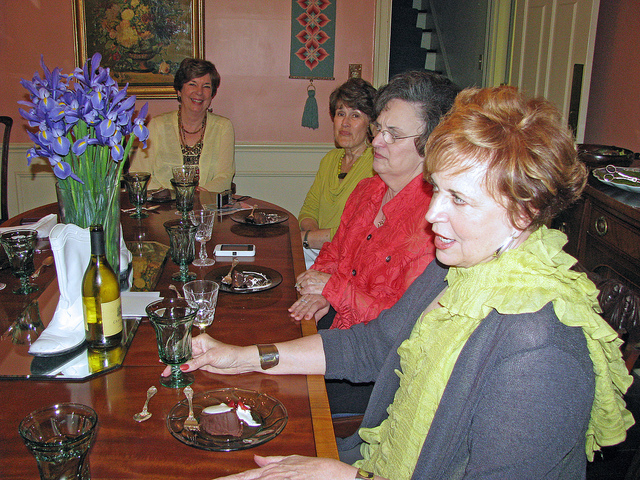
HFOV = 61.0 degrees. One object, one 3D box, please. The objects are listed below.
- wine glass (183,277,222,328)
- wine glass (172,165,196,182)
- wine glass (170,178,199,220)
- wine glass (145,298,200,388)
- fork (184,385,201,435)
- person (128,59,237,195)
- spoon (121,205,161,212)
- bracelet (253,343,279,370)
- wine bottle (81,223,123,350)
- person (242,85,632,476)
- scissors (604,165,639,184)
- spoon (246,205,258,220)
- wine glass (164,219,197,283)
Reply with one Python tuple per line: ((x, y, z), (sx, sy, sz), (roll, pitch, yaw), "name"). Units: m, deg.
((-0.372, 0.206, 1.827), (0.128, 0.150, 0.142), (1, 10, -3), "wine glass")
((-0.681, -0.333, 2.742), (0.137, 0.104, 0.132), (2, 2, -7), "wine glass")
((-0.658, -0.192, 2.662), (0.153, 0.212, 0.157), (7, 17, 18), "wine glass")
((-0.421, 0.305, 1.584), (0.166, 0.224, 0.161), (0, 3, 37), "wine glass")
((-0.340, 0.443, 1.422), (0.037, 0.019, 0.155), (9, 24, -22), "fork")
((-0.999, -0.774, 4.078), (0.737, 1.088, 0.696), (3, 25, -17), "person")
((-1.005, -0.180, 3.050), (0.214, 0.014, 0.116), (-6, 16, -18), "spoon")
((-0.162, 0.351, 1.619), (0.117, 0.092, 0.039), (0, -19, -2), "bracelet")
((-0.657, 0.189, 1.633), (0.104, 0.295, 0.051), (-8, 16, -25), "wine bottle")
((0.365, 0.033, 1.880), (1.089, 1.409, 0.947), (4, 9, -4), "person")
((1.444, -0.308, 2.603), (0.017, 0.057, 0.144), (20, 1, -41), "scissors")
((-0.358, -0.145, 2.867), (0.057, 0.065, 0.060), (27, 7, 35), "spoon")
((-0.535, 0.047, 2.136), (0.140, 0.215, 0.154), (8, 12, 39), "wine glass")
